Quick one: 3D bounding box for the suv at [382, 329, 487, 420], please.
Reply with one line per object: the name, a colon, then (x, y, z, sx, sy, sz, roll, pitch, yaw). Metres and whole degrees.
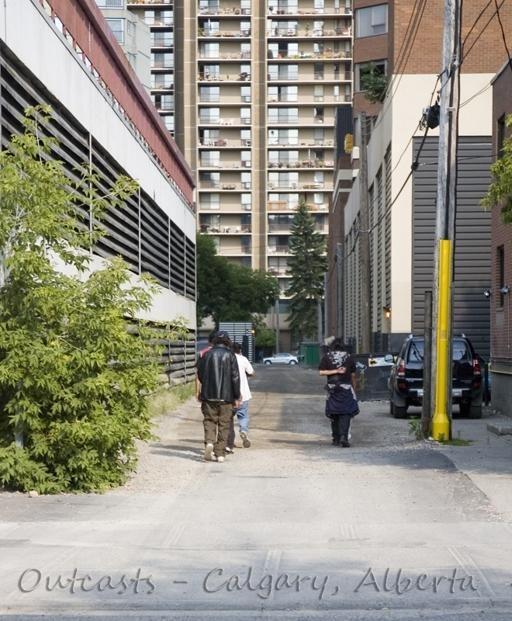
suv: (3.825, 1.399, 17.817, 1.201, 1.386, 2.383, 0, 2, 3)

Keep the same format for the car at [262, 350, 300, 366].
car: (2.841, 5.383, 91.223, 3.424, 1.083, 1.930, -2, -3, 15)

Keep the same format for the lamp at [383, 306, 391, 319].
lamp: (4.778, 0.005, 30.038, 0.111, 0.514, 0.255, -6, -15, 14)

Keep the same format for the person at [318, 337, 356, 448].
person: (1.237, 1.227, 12.386, 0.555, 1.615, 0.720, -1, -2, 5)

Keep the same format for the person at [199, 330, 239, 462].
person: (-0.488, 1.130, 11.013, 0.571, 1.693, 0.811, -1, -2, -5)
